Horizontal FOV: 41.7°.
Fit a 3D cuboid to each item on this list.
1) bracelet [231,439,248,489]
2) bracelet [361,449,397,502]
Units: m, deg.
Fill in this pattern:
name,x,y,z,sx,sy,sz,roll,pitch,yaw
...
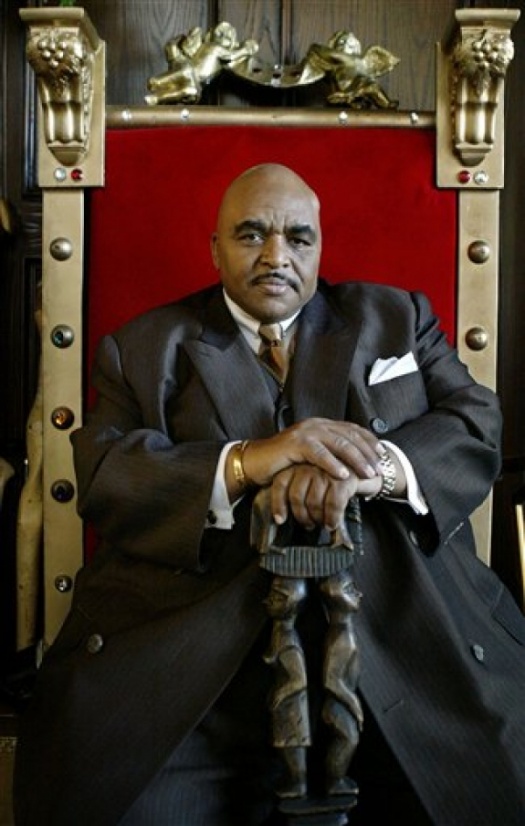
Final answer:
name,x,y,z,sx,sy,sz,roll,pitch,yaw
bracelet,-0.029,0.058,0.805,0.011,0.042,0.042,-5,9,-1
bracelet,0.146,0.073,0.814,0.040,0.056,0.066,-3,-4,10
